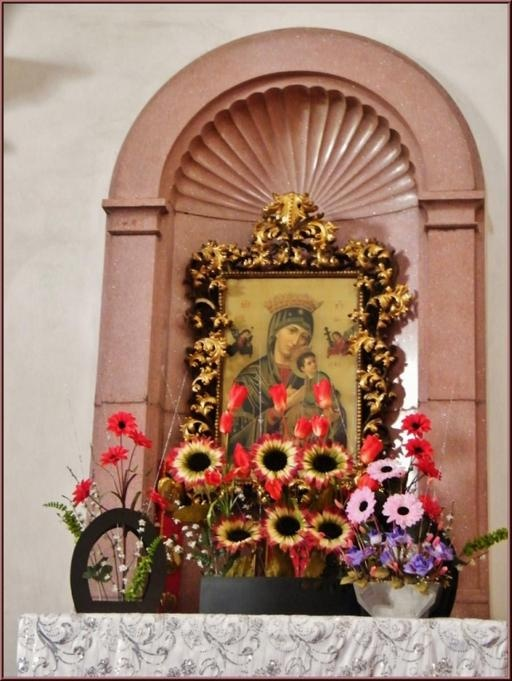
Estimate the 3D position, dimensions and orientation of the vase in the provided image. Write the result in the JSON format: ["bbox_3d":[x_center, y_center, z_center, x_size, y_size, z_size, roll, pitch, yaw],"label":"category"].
[{"bbox_3d":[0.140,0.599,2.968,0.552,0.109,0.120,-2,-12,-1],"label":"vase"}]
